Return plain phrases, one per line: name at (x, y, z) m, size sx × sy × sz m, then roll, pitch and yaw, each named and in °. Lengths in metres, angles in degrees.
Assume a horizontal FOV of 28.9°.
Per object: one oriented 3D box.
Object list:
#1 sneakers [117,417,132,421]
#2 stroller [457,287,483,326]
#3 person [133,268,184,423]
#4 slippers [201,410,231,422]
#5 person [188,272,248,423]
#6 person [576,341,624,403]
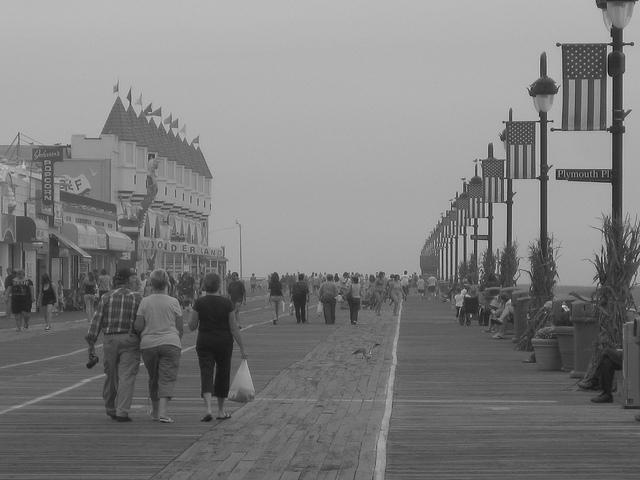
sneakers at (-2.892, 2.683, 18.537) m, size 0.213 × 0.078 × 0.093 m, roll 2°, pitch -2°, yaw -23°
stroller at (5.167, 2.300, 43.437) m, size 0.759 × 1.229 × 1.369 m, roll 0°, pitch 10°, yaw 3°
person at (-2.401, 1.596, 18.650) m, size 0.693 × 2.300 × 0.487 m, roll 1°, pitch -4°, yaw -6°
slippers at (-1.534, 2.666, 18.713) m, size 0.404 × 0.116 × 0.163 m, roll -1°, pitch -1°, yaw -15°
person at (-1.563, 1.631, 18.812) m, size 0.792 × 2.249 × 0.416 m, roll 1°, pitch -4°, yaw -7°
person at (4.771, 2.276, 21.108) m, size 0.761 × 0.986 × 0.807 m, roll 2°, pitch 0°, yaw 3°
